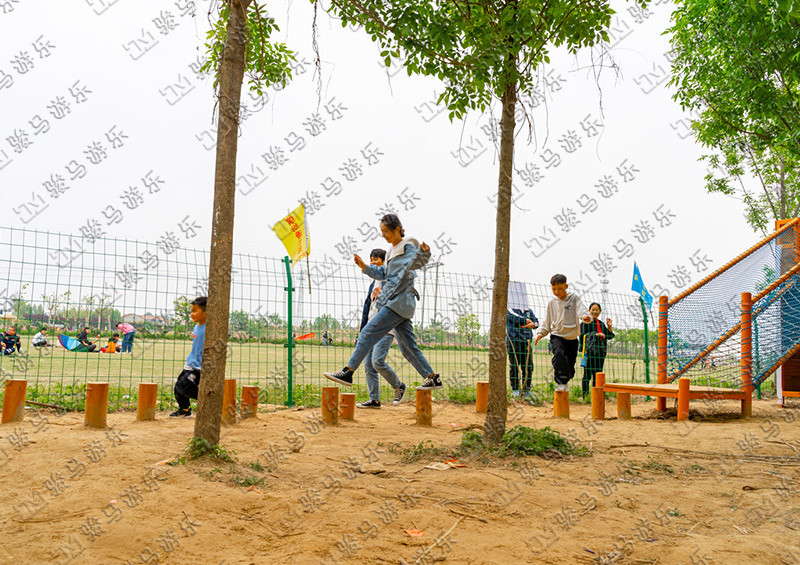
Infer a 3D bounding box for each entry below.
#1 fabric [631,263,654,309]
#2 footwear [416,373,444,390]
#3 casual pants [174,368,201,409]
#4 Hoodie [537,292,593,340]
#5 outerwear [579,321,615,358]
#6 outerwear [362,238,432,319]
[{"bbox_3d":[5.270,0.102,17.362,0.409,1.272,0.092,6,-43,0],"label":"fabric"},{"bbox_3d":[0.455,1.461,11.716,0.304,0.238,0.322,2,10,4],"label":"footwear"},{"bbox_3d":[-3.118,1.578,11.656,0.431,0.678,0.240,4,10,19],"label":"casual pants"},{"bbox_3d":[2.628,0.561,12.697,0.638,0.767,0.416,0,-18,42],"label":"Hoodie"},{"bbox_3d":[3.908,1.076,15.703,0.577,0.890,0.417,0,20,5],"label":"outerwear"},{"bbox_3d":[-0.045,-0.046,10.859,0.725,0.952,0.340,-26,-36,37],"label":"outerwear"}]
